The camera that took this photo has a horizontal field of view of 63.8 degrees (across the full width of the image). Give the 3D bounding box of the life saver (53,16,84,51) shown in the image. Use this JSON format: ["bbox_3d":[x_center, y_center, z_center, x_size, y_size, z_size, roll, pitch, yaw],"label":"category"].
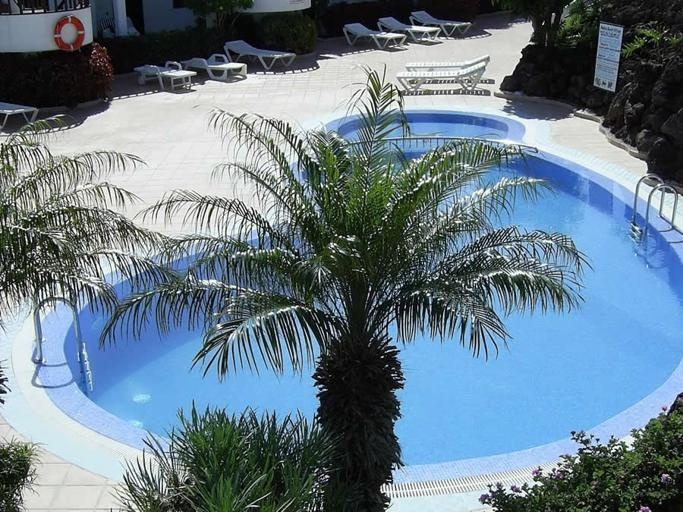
[{"bbox_3d":[-7.540,-6.217,15.331,0.211,0.877,0.776,7,17,32],"label":"life saver"}]
